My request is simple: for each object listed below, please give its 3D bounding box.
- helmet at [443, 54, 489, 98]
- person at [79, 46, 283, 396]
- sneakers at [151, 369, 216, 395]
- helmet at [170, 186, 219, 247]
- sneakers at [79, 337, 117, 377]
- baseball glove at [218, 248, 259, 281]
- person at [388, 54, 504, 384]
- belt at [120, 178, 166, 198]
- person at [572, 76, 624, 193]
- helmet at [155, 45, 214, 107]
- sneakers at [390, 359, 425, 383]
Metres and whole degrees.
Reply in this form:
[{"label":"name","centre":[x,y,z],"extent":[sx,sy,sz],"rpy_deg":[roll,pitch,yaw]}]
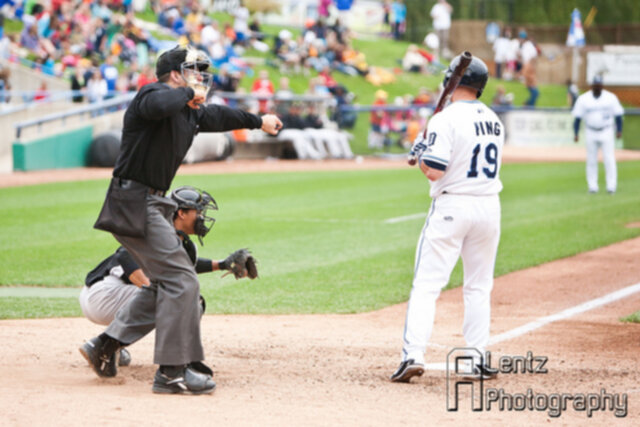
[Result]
[{"label":"helmet","centre":[1.437,-1.246,7.964],"extent":[0.462,0.351,0.328],"rpy_deg":[11,12,22]},{"label":"person","centre":[-1.411,0.036,7.717],"extent":[1.436,3.043,0.607],"rpy_deg":[-1,5,-8]},{"label":"sneakers","centre":[-1.182,1.490,7.666],"extent":[0.559,0.235,0.222],"rpy_deg":[0,1,-5]},{"label":"helmet","centre":[-1.180,0.005,8.211],"extent":[0.577,0.522,0.500],"rpy_deg":[-1,4,-10]},{"label":"sneakers","centre":[-1.965,1.284,7.766],"extent":[0.259,0.361,0.130],"rpy_deg":[-39,24,5]},{"label":"baseball glove","centre":[-0.765,0.475,8.217],"extent":[0.354,0.233,0.164],"rpy_deg":[-3,-2,-17]},{"label":"person","centre":[1.202,0.251,7.838],"extent":[0.979,2.524,0.440],"rpy_deg":[0,5,-3]},{"label":"belt","centre":[-1.544,-0.230,7.594],"extent":[0.217,0.050,0.205],"rpy_deg":[18,3,-19]},{"label":"person","centre":[3.072,-0.867,9.593],"extent":[0.514,1.282,0.234],"rpy_deg":[2,5,19]},{"label":"helmet","centre":[-1.201,-1.245,7.766],"extent":[0.618,0.539,0.464],"rpy_deg":[-6,9,-5]},{"label":"sneakers","centre":[0.766,1.434,7.822],"extent":[0.143,0.174,0.375],"rpy_deg":[20,-37,-29]}]
